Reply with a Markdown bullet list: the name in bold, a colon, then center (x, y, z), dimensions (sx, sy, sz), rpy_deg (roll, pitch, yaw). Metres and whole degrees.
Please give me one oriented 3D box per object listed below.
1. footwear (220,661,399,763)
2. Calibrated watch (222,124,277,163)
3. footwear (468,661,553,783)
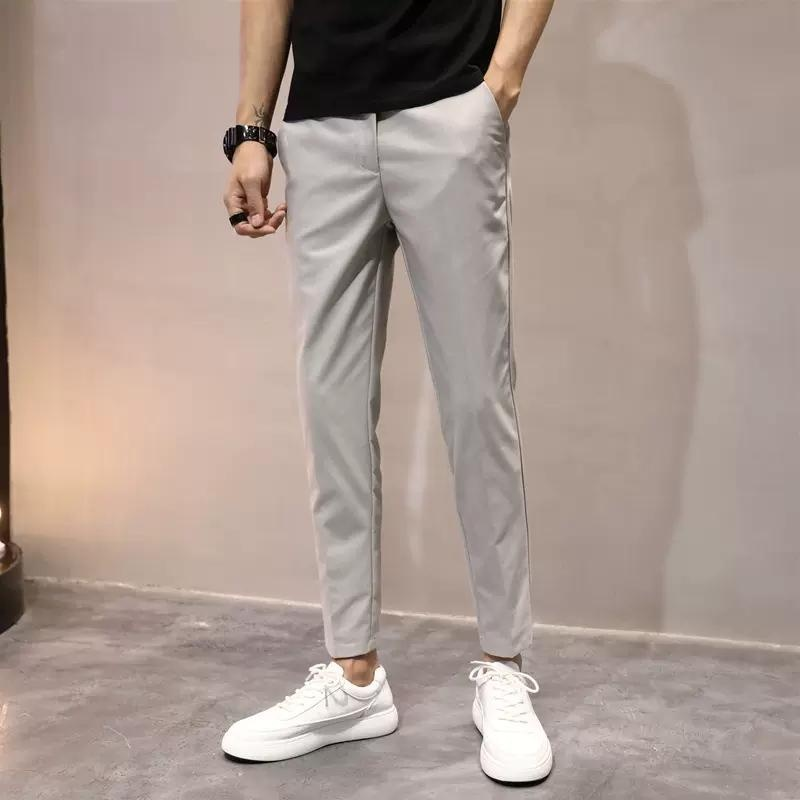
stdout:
- **footwear**: center (-0.136, 0.504, 1.446), dimensions (0.336, 0.121, 0.108), rpy_deg (-2, -2, -21)
- **Calibrated watch**: center (-0.250, -0.438, 1.490), dimensions (0.103, 0.050, 0.088), rpy_deg (-1, 3, 1)
- **footwear**: center (0.173, 0.498, 1.365), dimensions (0.086, 0.074, 0.194), rpy_deg (-1, 2, -3)
